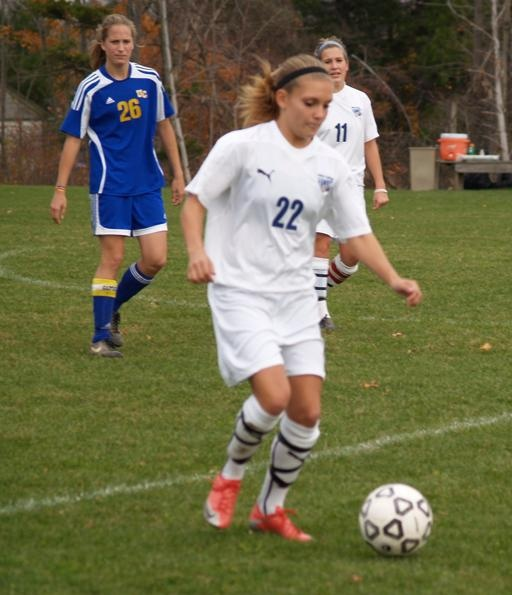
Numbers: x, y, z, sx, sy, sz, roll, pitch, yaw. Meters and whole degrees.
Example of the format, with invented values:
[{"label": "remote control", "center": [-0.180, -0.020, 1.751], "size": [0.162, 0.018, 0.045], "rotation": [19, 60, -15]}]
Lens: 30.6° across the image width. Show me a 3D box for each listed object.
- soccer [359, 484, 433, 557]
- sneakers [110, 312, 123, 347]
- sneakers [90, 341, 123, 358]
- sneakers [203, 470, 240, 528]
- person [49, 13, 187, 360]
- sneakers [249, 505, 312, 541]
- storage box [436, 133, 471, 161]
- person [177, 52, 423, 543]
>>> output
[{"label": "soccer", "center": [0.573, 0.925, 3.925], "size": [0.285, 0.286, 0.271], "rotation": [4, -20, -3]}, {"label": "sneakers", "center": [-0.951, 0.236, 6.381], "size": [0.080, 0.110, 0.258], "rotation": [0, 25, -21]}, {"label": "sneakers", "center": [-0.986, 0.333, 6.124], "size": [0.242, 0.103, 0.091], "rotation": [1, 7, 31]}, {"label": "sneakers", "center": [-0.145, 0.870, 3.990], "size": [0.103, 0.285, 0.113], "rotation": [15, -20, -16]}, {"label": "person", "center": [-0.898, -0.729, 6.187], "size": [0.927, 2.178, 0.531], "rotation": [1, 7, -25]}, {"label": "sneakers", "center": [0.155, 0.953, 4.040], "size": [0.333, 0.146, 0.110], "rotation": [10, -10, 13]}, {"label": "storage box", "center": [4.219, -3.229, 20.001], "size": [0.750, 0.644, 0.756], "rotation": [0, 7, 5]}, {"label": "person", "center": [0.096, 0.023, 3.974], "size": [0.839, 1.974, 0.566], "rotation": [0, 7, -36]}]
